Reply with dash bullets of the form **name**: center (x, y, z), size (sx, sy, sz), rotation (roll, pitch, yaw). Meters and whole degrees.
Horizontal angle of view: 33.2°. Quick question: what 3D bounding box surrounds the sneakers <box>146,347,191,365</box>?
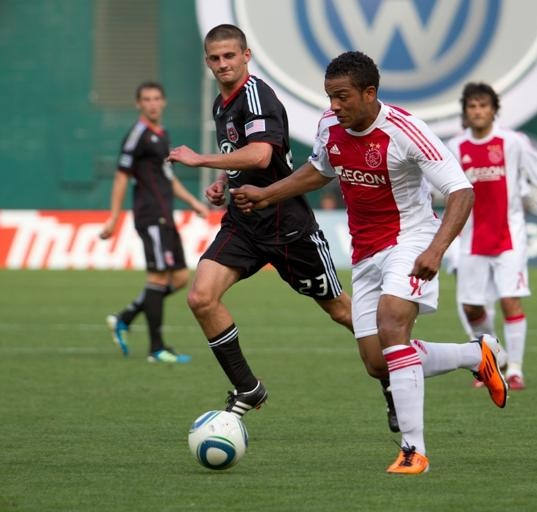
- **sneakers**: center (-0.756, 0.770, 6.882), size (0.313, 0.120, 0.100), rotation (-1, 4, -13)

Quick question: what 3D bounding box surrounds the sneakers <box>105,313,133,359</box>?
- **sneakers**: center (-0.892, 0.478, 5.346), size (0.124, 0.269, 0.093), rotation (-21, 23, 1)

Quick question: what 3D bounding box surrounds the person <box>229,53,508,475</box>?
- **person**: center (0.548, -0.038, 4.219), size (0.651, 1.816, 1.109), rotation (-11, 15, -16)

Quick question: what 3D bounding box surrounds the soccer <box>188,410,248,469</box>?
- **soccer**: center (-0.241, 0.785, 4.014), size (0.254, 0.223, 0.240), rotation (1, 24, 9)

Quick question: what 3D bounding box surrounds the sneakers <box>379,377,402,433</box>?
- **sneakers**: center (0.619, 0.766, 4.613), size (0.096, 0.262, 0.187), rotation (-11, 7, 9)

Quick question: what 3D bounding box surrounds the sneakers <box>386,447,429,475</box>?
- **sneakers**: center (0.600, 0.900, 3.925), size (0.176, 0.115, 0.179), rotation (-3, 14, 12)
